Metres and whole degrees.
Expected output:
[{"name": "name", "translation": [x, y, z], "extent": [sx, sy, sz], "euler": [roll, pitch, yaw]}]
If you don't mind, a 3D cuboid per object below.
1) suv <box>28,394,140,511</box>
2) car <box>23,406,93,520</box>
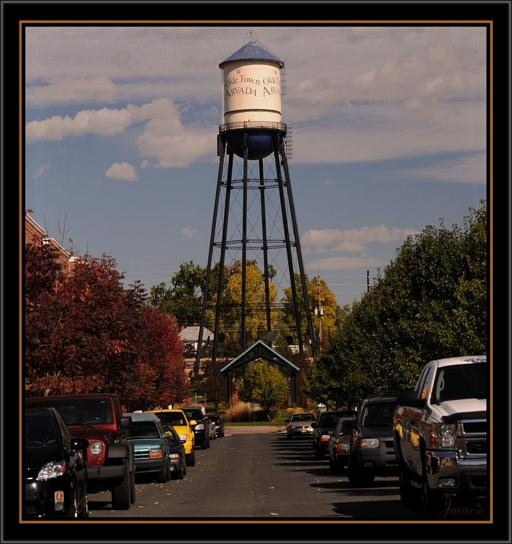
[{"name": "suv", "translation": [-2.685, 2.955, 16.777], "extent": [1.267, 1.357, 2.423], "euler": [-3, -17, 2]}, {"name": "car", "translation": [-2.561, 2.507, 12.547], "extent": [0.785, 1.469, 1.873], "euler": [0, -6, -12]}]
